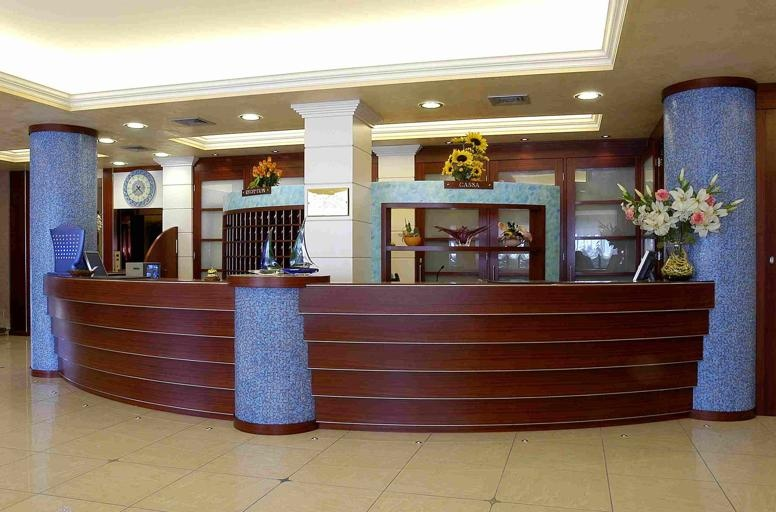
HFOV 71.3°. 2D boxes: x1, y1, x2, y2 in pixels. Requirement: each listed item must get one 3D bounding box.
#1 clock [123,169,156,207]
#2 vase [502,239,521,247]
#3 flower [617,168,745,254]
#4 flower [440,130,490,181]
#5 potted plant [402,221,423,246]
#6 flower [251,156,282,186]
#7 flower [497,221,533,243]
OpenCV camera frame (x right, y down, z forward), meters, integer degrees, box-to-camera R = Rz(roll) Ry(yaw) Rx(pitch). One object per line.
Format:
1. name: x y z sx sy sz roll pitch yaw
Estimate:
1. clock: -4.748 -1.332 10.468 0.988 0.751 0.086 0 -4 14
2. vase: 1.745 -0.194 7.621 0.219 0.097 0.163 1 7 14
3. flower: 3.161 -0.433 5.784 1.110 0.684 0.954 2 -3 -35
4. flower: 1.024 -1.347 7.601 0.696 0.714 0.742 14 20 3
5. potted plant: 0.372 -0.320 7.784 0.401 0.390 0.363 -2 -3 10
6. flower: -1.846 -1.253 8.166 0.377 0.403 0.616 -2 7 -14
7. flower: 1.772 -0.358 7.777 0.353 0.189 0.414 5 1 -3
